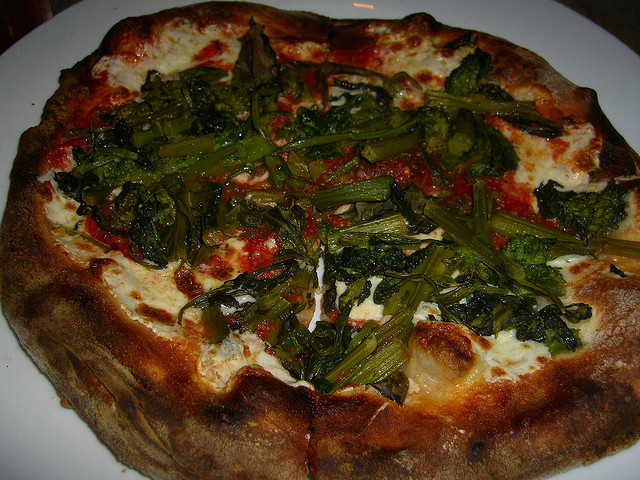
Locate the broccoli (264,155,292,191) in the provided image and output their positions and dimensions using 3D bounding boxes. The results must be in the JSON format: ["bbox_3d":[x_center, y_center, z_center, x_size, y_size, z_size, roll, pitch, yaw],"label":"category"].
[{"bbox_3d":[-0.417,-0.646,6.609,0.215,0.318,0.122,-6,0,-15],"label":"broccoli"}]

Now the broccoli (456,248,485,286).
[{"bbox_3d":[1.379,0.226,6.346,0.224,0.321,0.095,-23,5,23],"label":"broccoli"}]
